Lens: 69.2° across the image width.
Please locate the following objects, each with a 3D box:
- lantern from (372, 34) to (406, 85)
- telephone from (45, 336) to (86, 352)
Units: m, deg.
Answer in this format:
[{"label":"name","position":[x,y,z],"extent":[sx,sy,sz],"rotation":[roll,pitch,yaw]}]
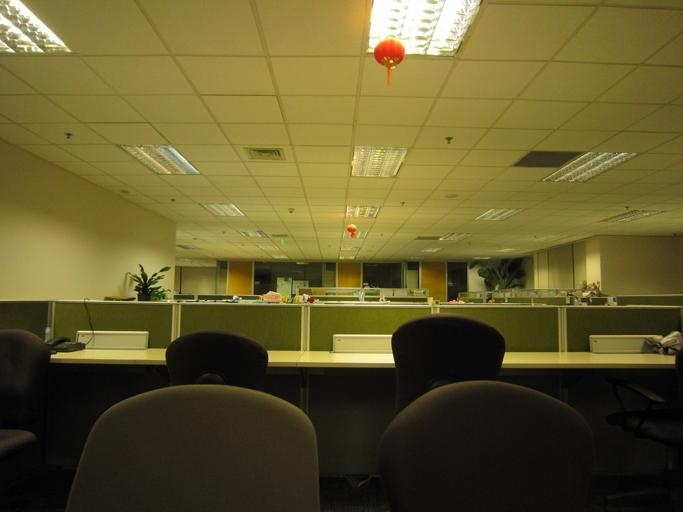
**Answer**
[{"label":"lantern","position":[0.329,-1.303,3.291],"extent":[0.145,0.297,0.182],"rotation":[-4,-7,36]},{"label":"telephone","position":[-2.091,0.677,3.748],"extent":[0.218,0.079,0.196],"rotation":[2,-7,-1]}]
